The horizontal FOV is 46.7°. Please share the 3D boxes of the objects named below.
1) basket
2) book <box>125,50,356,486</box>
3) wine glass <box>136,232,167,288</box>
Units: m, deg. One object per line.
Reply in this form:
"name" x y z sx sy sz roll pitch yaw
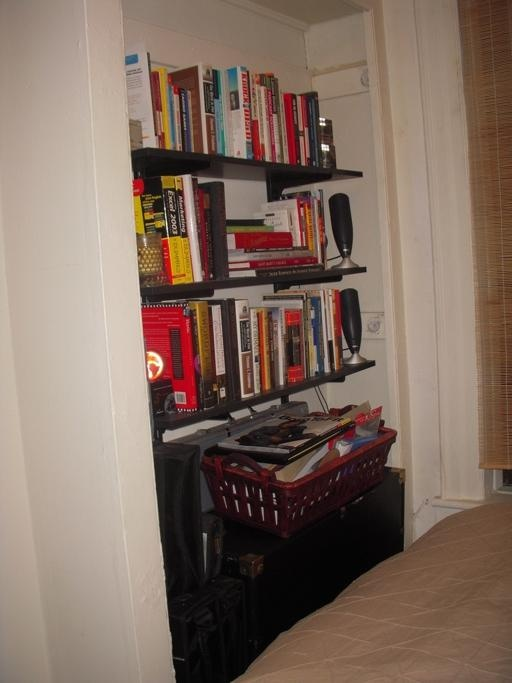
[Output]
"basket" 0.143 0.377 1.786 0.258 0.156 0.425 0 6 35
"book" -0.040 -0.281 1.820 0.376 1.098 0.926 -16 -4 37
"wine glass" -0.264 -0.205 1.477 0.076 0.124 0.031 -14 -3 -9
